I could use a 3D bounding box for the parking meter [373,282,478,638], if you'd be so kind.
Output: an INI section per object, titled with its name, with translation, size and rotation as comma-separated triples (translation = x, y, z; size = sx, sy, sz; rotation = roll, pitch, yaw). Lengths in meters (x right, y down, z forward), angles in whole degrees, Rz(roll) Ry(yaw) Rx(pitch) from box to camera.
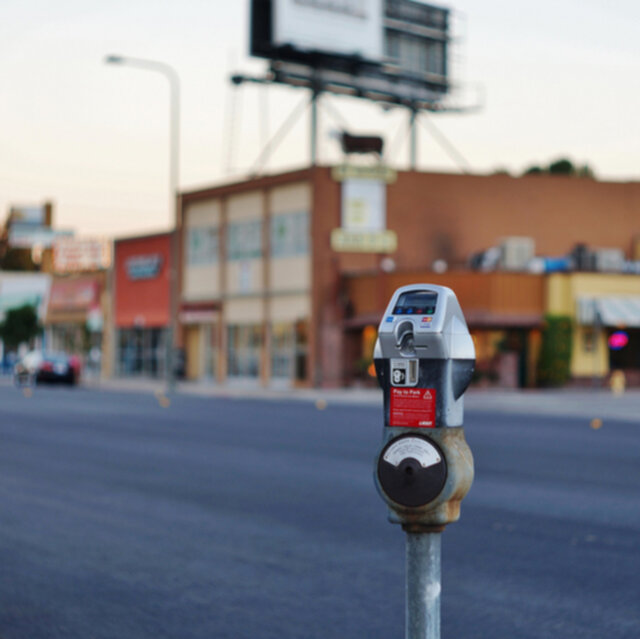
[parking meter]
translation = 0.406, 0.532, 4.078
size = 0.408, 1.361, 0.332
rotation = -1, -2, 9
